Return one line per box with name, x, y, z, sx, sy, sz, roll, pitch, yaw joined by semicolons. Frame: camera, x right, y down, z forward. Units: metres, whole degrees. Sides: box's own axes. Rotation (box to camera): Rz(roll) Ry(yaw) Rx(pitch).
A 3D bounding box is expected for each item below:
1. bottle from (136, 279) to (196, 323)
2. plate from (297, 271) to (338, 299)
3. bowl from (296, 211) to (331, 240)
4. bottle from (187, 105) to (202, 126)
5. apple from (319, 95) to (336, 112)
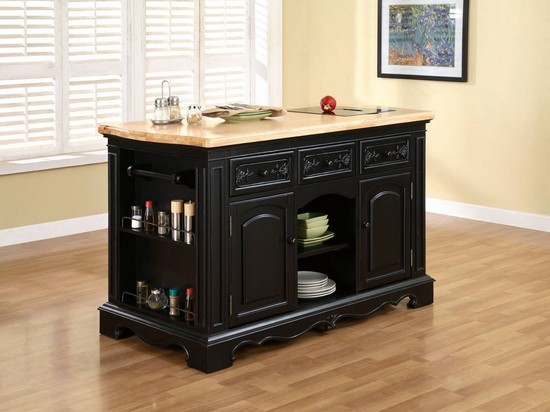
bottle;-0.562;0.471;2.528;0.350;0.116;0.165;5;8;33
plate;0.240;0.447;2.804;0.202;0.060;0.184;0;6;3
bowl;0.212;0.114;2.830;0.142;0.104;0.181;3;6;42
bottle;-0.423;-0.476;2.610;0.074;0.096;0.104;-2;12;-7
apple;0.333;-0.634;3.115;0.091;0.108;0.226;1;11;4
